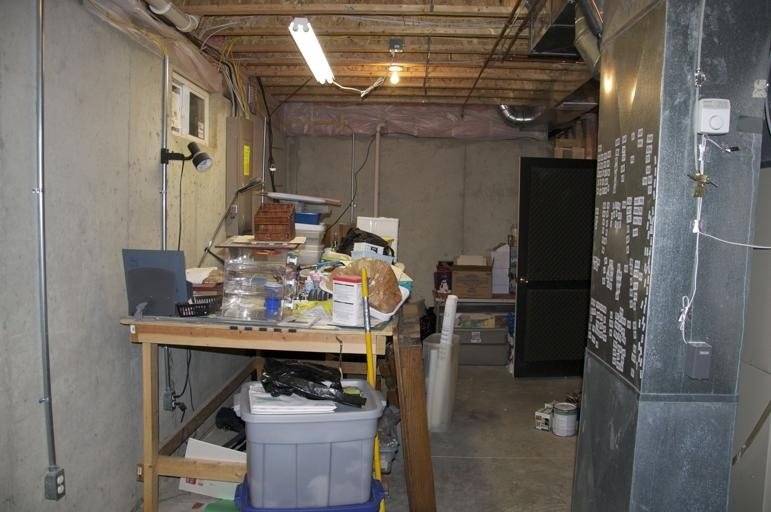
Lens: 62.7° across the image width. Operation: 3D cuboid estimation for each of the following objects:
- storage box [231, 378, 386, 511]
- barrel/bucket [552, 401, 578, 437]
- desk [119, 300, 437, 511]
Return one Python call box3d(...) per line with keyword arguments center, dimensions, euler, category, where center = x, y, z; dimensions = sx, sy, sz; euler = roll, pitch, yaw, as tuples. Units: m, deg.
box3d(center=(-0.454, 1.115, 3.695), dimensions=(0.667, 0.431, 0.547), euler=(1, -3, -7), category="storage box")
box3d(center=(1.608, 1.470, 5.705), dimensions=(0.214, 0.243, 0.223), euler=(0, 3, 0), category="barrel/bucket")
box3d(center=(-0.530, 0.819, 4.702), dimensions=(1.608, 1.247, 1.613), euler=(1, 1, 13), category="desk")
